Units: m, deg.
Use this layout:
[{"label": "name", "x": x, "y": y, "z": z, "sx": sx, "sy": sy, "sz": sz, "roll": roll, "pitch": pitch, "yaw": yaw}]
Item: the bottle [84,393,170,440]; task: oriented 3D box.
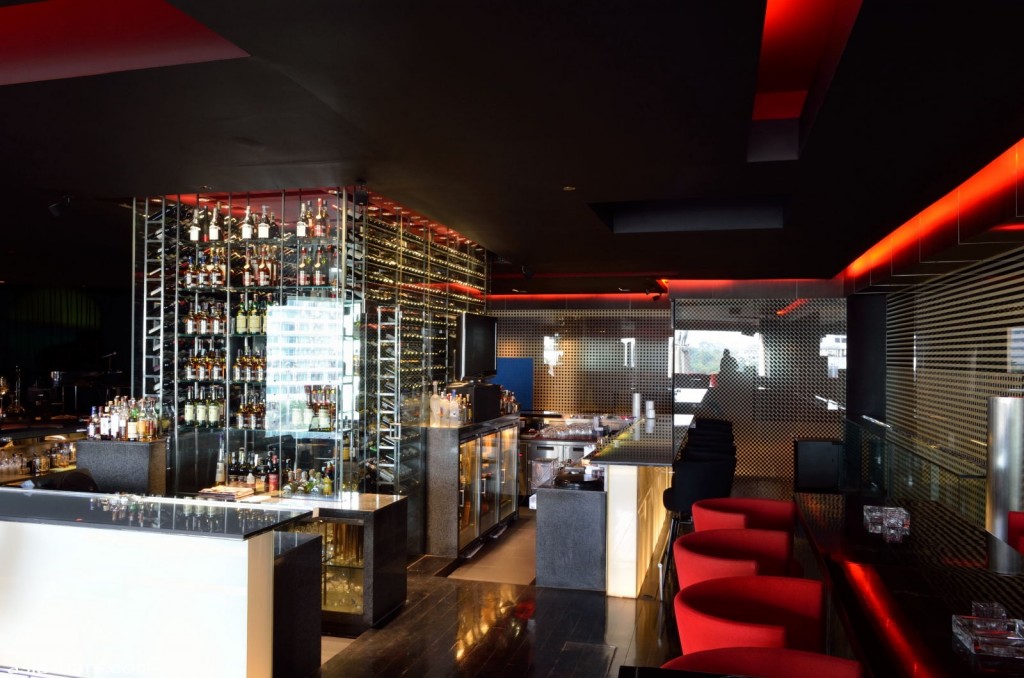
[{"label": "bottle", "x": -3.348, "y": 0.673, "z": 6.320, "sx": 0.589, "sy": 0.340, "sz": 0.361, "roll": -1, "pitch": 7, "yaw": -5}]

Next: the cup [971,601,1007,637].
[{"label": "cup", "x": 2.287, "y": 1.333, "z": 3.520, "sx": 0.137, "sy": 0.125, "sz": 0.129, "roll": 0, "pitch": -1, "yaw": 0}]

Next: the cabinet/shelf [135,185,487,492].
[{"label": "cabinet/shelf", "x": -2.380, "y": -0.014, "z": 9.123, "sx": 3.287, "sy": 4.492, "sz": 2.493, "roll": 0, "pitch": -1, "yaw": 13}]

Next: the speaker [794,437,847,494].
[{"label": "speaker", "x": 4.275, "y": 1.767, "z": 10.269, "sx": 0.639, "sy": 0.730, "sz": 0.740, "roll": 2, "pitch": 8, "yaw": 19}]

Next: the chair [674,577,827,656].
[{"label": "chair", "x": 1.210, "y": 1.431, "z": 3.841, "sx": 0.525, "sy": 0.473, "sz": 0.569, "roll": -7, "pitch": -8, "yaw": 30}]

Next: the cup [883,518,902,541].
[{"label": "cup", "x": 2.463, "y": 1.228, "z": 4.759, "sx": 0.147, "sy": 0.132, "sz": 0.074, "roll": 0, "pitch": -3, "yaw": 21}]

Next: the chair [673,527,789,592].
[{"label": "chair", "x": 1.353, "y": 1.246, "z": 4.650, "sx": 0.481, "sy": 0.463, "sz": 0.559, "roll": -3, "pitch": -6, "yaw": 25}]
